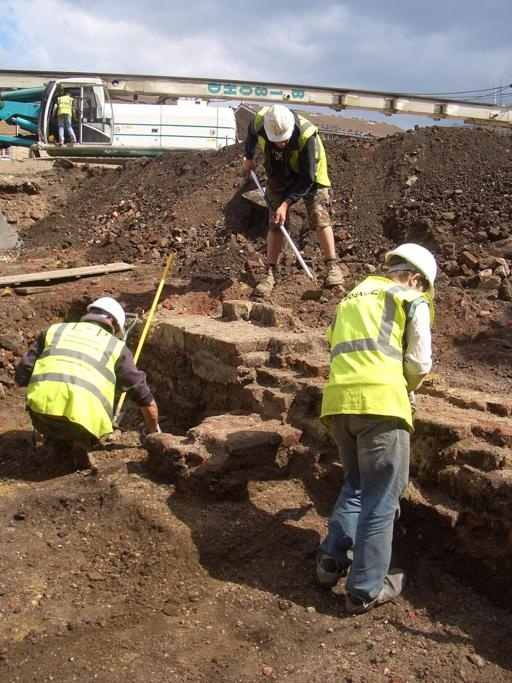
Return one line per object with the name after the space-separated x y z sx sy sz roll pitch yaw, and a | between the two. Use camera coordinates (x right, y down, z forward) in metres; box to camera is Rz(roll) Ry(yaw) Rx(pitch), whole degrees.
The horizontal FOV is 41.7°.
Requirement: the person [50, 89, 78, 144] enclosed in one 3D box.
-3.746 -4.444 13.265 0.409 1.092 0.602 -5 16 -18 | person

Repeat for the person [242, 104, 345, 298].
0.346 -1.170 5.805 0.895 1.649 1.225 0 15 -1 | person

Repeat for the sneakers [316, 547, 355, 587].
0.397 1.112 3.314 0.171 0.165 0.209 6 5 15 | sneakers

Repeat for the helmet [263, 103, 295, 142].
0.154 -1.693 5.220 0.263 0.277 0.288 6 16 22 | helmet

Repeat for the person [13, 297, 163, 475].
-1.106 0.293 4.547 1.066 1.157 0.851 18 -19 -26 | person

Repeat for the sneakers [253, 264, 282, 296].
0.188 -0.554 6.265 0.138 0.240 0.382 20 19 14 | sneakers

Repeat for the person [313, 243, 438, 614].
0.542 0.418 3.195 0.500 1.696 0.692 4 16 13 | person

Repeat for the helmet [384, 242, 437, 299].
0.679 -0.355 3.250 0.305 0.141 0.215 -8 0 -1 | helmet
